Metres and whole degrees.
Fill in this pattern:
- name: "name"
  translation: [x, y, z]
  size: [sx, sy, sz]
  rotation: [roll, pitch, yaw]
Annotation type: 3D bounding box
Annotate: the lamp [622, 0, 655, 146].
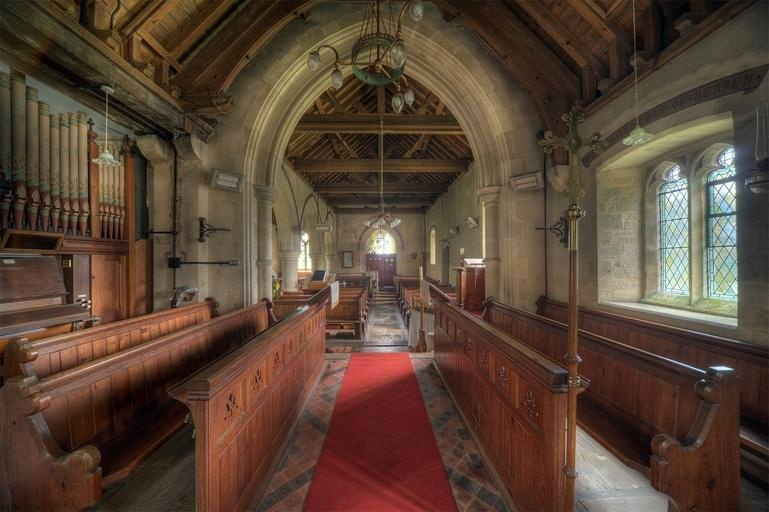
- name: "lamp"
  translation: [3.078, -2.184, 5.746]
  size: [0.305, 2.009, 1.004]
  rotation: [0, 0, 27]
